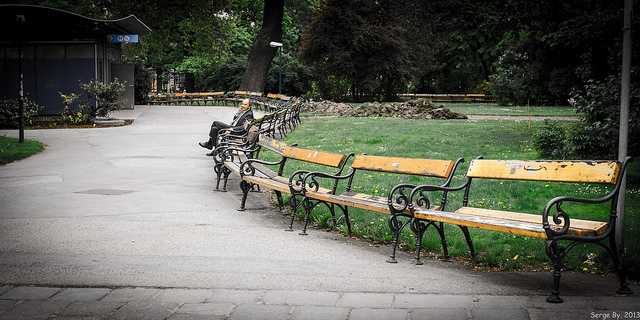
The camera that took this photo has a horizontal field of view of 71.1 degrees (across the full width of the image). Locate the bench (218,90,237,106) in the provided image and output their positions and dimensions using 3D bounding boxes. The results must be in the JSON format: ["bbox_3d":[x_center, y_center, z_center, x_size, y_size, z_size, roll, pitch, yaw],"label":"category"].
[{"bbox_3d":[-8.141,-5.500,38.578,2.215,1.141,0.787,0,3,8],"label":"bench"}]

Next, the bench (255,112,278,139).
[{"bbox_3d":[-2.105,-1.362,17.931,1.003,0.968,2.474,2,5,5],"label":"bench"}]

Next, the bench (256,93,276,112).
[{"bbox_3d":[-3.881,-4.017,32.443,1.366,1.179,5.203,-1,13,-7],"label":"bench"}]

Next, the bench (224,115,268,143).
[{"bbox_3d":[-2.493,-1.024,15.170,0.687,0.978,1.666,6,-1,-26],"label":"bench"}]

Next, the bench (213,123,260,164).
[{"bbox_3d":[-2.579,-0.479,13.710,1.286,1.055,3.013,2,3,-11],"label":"bench"}]

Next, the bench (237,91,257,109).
[{"bbox_3d":[-5.970,-4.884,35.632,2.235,1.064,1.082,12,18,40],"label":"bench"}]

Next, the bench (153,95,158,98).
[{"bbox_3d":[-15.370,-5.894,41.662,0.372,0.168,3.362,-4,14,-19],"label":"bench"}]
